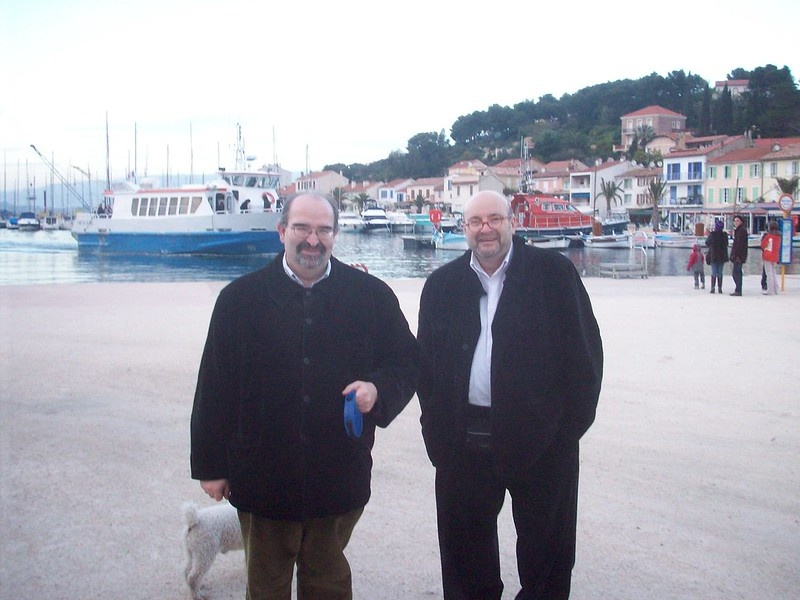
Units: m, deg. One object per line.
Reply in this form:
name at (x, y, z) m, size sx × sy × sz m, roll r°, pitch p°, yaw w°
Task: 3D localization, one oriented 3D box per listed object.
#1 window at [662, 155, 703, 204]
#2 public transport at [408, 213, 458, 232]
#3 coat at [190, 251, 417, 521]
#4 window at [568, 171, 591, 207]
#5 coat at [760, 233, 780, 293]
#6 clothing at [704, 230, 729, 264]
window at (25.039, -10.542, 68.154) m, size 1.123 × 4.278 × 4.742 m, roll -2°, pitch 5°, yaw -22°
public transport at (3.224, -7.478, 75.803) m, size 3.922 × 2.180 × 5.709 m, roll 3°, pitch 11°, yaw 6°
coat at (-0.504, 0.444, 4.068) m, size 1.196 × 1.331 × 0.721 m, roll 0°, pitch 7°, yaw -1°
window at (20.337, -12.542, 87.998) m, size 2.136 × 4.299 × 3.651 m, roll 0°, pitch 1°, yaw 29°
coat at (8.098, -0.790, 16.886) m, size 0.358 × 1.414 × 2.169 m, roll 2°, pitch 5°, yaw 26°
clothing at (6.992, -1.146, 17.034) m, size 0.437 × 0.739 × 0.947 m, roll 2°, pitch 5°, yaw 21°
